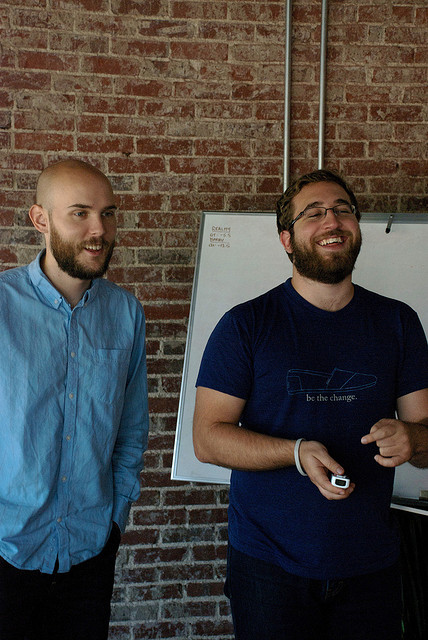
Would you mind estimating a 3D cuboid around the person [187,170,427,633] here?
[{"bbox_3d":[0.287,0.191,1.674,0.537,1.236,0.490,-4,6,-40],"label":"person"}]

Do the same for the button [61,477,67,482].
[{"bbox_3d":[-0.409,0.429,1.704,0.017,0.014,0.004,-2,0,-24],"label":"button"}]

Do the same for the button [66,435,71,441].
[{"bbox_3d":[-0.399,0.318,1.710,0.011,0.013,0.003,1,-11,-8],"label":"button"}]

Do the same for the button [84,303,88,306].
[{"bbox_3d":[-0.373,-0.050,1.813,0.015,0.009,0.003,0,2,-32],"label":"button"}]

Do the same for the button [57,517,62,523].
[{"bbox_3d":[-0.419,0.541,1.705,0.012,0.014,0.002,-4,6,-36],"label":"button"}]

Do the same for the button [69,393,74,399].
[{"bbox_3d":[-0.395,0.206,1.728,0.016,0.014,0.004,1,-5,-25],"label":"button"}]

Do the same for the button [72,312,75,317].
[{"bbox_3d":[-0.399,-0.019,1.780,0.002,0.013,0.009,1,5,14],"label":"button"}]

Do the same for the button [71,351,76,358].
[{"bbox_3d":[-0.394,0.093,1.749,0.017,0.016,0.004,1,-6,-30],"label":"button"}]

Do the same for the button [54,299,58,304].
[{"bbox_3d":[-0.444,-0.056,1.759,0.012,0.010,0.002,1,-6,-5],"label":"button"}]

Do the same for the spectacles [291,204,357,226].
[{"bbox_3d":[0.306,-0.303,1.763,0.174,0.051,0.063,0,4,9],"label":"spectacles"}]

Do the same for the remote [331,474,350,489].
[{"bbox_3d":[0.280,0.359,1.405,0.039,0.033,0.019,1,5,12],"label":"remote"}]
